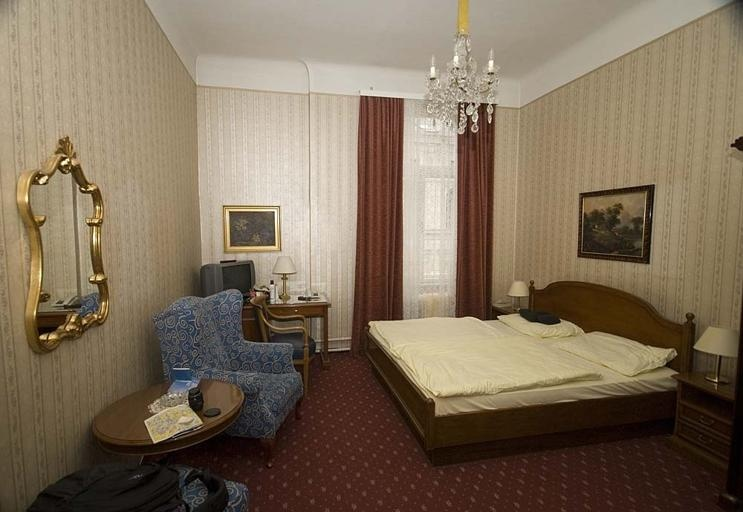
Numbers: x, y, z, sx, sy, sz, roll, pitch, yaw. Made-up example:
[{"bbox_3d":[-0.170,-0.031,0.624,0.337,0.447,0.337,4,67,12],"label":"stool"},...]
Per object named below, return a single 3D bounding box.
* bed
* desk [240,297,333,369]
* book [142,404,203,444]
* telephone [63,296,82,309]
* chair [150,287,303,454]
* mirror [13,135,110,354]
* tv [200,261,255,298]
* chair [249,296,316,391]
[{"bbox_3d":[1.724,1.155,6.804,3.358,1.516,2.962,-2,7,-10],"label":"bed"},{"bbox_3d":[-1.108,0.828,7.350,1.149,0.920,0.941,-1,1,-13],"label":"desk"},{"bbox_3d":[-1.703,1.446,4.590,0.431,0.168,0.392,-5,8,-31],"label":"book"},{"bbox_3d":[-2.534,0.401,4.550,0.082,0.059,0.084,-8,9,-14],"label":"telephone"},{"bbox_3d":[-1.501,1.202,6.079,1.415,1.860,1.577,-1,5,0],"label":"chair"},{"bbox_3d":[-2.587,-0.107,4.500,0.205,1.771,0.797,1,8,13],"label":"mirror"},{"bbox_3d":[-1.869,0.285,7.202,0.654,0.471,0.818,14,6,34],"label":"tv"},{"bbox_3d":[-1.116,1.080,7.226,1.020,1.460,1.060,0,4,-5],"label":"chair"}]
